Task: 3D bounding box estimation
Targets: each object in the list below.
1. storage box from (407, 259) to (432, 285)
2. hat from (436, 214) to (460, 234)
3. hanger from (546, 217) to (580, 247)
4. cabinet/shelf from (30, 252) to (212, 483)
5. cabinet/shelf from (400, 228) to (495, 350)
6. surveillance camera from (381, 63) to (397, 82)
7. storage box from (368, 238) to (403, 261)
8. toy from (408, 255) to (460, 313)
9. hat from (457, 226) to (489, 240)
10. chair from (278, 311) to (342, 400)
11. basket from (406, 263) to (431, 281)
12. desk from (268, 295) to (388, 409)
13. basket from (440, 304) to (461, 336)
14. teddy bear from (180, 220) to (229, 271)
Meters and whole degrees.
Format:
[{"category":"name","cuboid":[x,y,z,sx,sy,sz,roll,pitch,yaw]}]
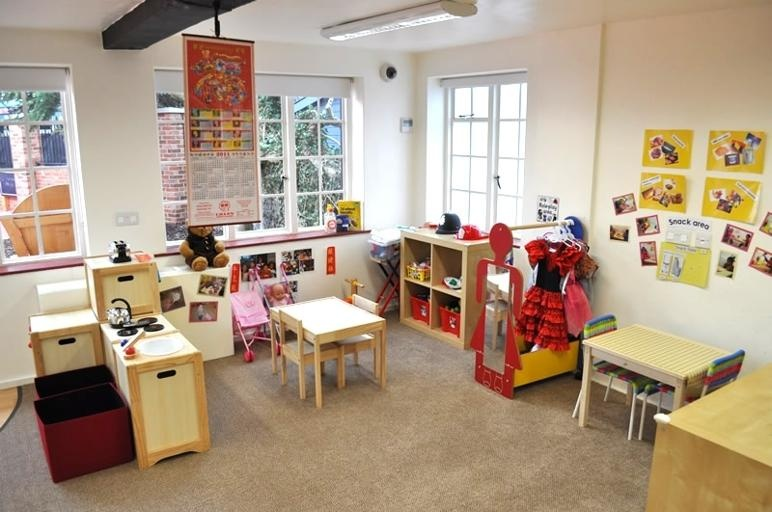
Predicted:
[{"category":"storage box","cuboid":[0.423,0.203,6.963,0.258,0.163,0.260,-1,11,-17]},{"category":"hat","cuboid":[0.792,-0.404,6.784,0.274,0.187,0.243,5,8,42]},{"category":"hanger","cuboid":[1.878,-0.257,5.777,0.306,0.375,0.374,1,3,-31]},{"category":"cabinet/shelf","cuboid":[-2.354,0.818,5.413,1.369,1.745,2.125,-8,18,-28]},{"category":"cabinet/shelf","cuboid":[0.777,0.400,6.623,0.429,1.234,1.225,-7,16,-30]},{"category":"surveillance camera","cuboid":[0.066,-2.483,7.317,0.265,0.221,0.099,-10,14,-35]},{"category":"storage box","cuboid":[-0.002,-0.096,7.274,0.269,0.159,0.342,15,19,41]},{"category":"toy","cuboid":[0.625,0.338,6.879,0.190,0.557,0.586,7,-25,-21]},{"category":"hat","cuboid":[1.057,-0.264,6.543,0.261,0.096,0.200,-5,12,-38]},{"category":"chair","cuboid":[-0.777,1.040,5.635,0.600,1.073,0.573,-11,19,-34]},{"category":"basket","cuboid":[0.412,0.196,6.971,0.179,0.099,0.265,-3,14,-17]},{"category":"desk","cuboid":[-0.658,0.848,5.833,1.042,0.847,1.065,-9,16,-34]},{"category":"basket","cuboid":[0.818,0.796,6.768,0.144,0.351,0.361,-9,14,-31]},{"category":"teddy bear","cuboid":[-2.086,-0.176,6.260,0.489,0.656,0.487,6,11,33]}]
